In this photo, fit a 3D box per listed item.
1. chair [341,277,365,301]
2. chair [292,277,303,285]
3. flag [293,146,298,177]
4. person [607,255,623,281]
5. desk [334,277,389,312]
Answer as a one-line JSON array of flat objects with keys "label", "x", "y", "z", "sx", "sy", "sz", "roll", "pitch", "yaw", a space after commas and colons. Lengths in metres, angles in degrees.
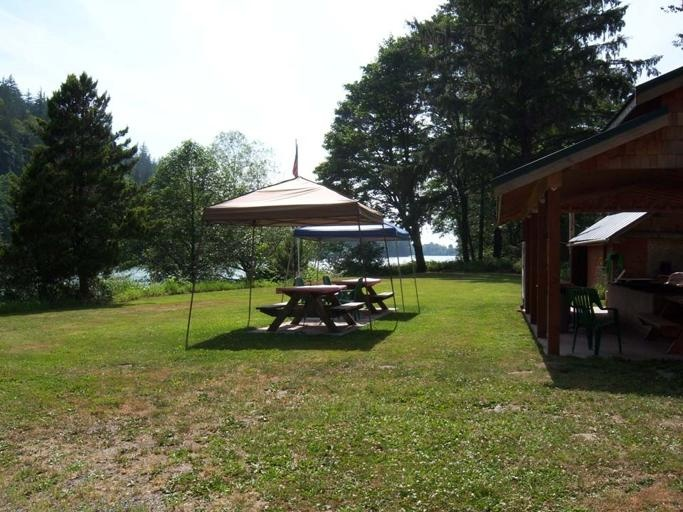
[{"label": "chair", "x": 0.339, "y": 0.988, "z": 14.949, "sx": 0.617, "sy": 1.101, "sz": 0.624, "roll": 0, "pitch": -1, "yaw": 16}, {"label": "chair", "x": -1.287, "y": 0.748, "z": 14.612, "sx": 0.200, "sy": 0.143, "sz": 0.279, "roll": 0, "pitch": 1, "yaw": 13}, {"label": "flag", "x": -1.300, "y": -2.632, "z": 14.318, "sx": 0.132, "sy": 0.856, "sz": 0.215, "roll": -1, "pitch": 6, "yaw": -5}, {"label": "person", "x": 9.803, "y": 0.398, "z": 18.582, "sx": 0.544, "sy": 0.970, "sz": 0.423, "roll": -3, "pitch": 6, "yaw": -23}, {"label": "desk", "x": 0.597, "y": 1.125, "z": 15.289, "sx": 1.232, "sy": 0.780, "sz": 1.529, "roll": -2, "pitch": -1, "yaw": 17}]
